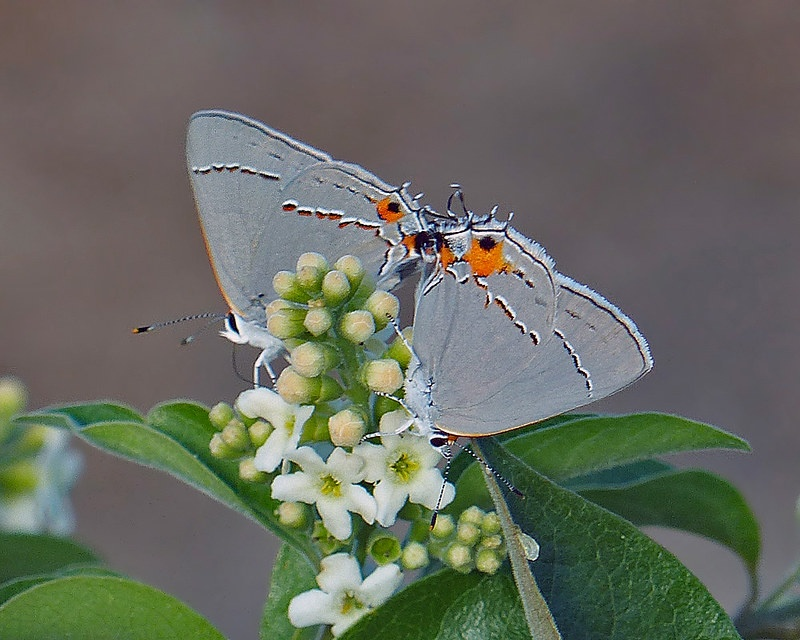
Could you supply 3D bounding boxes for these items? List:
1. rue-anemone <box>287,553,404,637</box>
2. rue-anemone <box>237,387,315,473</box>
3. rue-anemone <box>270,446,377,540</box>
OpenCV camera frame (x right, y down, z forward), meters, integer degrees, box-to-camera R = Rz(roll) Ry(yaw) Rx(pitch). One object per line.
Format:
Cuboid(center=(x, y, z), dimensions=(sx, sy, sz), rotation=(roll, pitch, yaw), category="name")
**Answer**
Cuboid(center=(-0.151, 0.720, 2.803), dimensions=(0.305, 0.106, 0.175), rotation=(-43, 60, -14), category="rue-anemone")
Cuboid(center=(-0.345, 0.293, 2.887), dimensions=(0.201, 0.083, 0.217), rotation=(22, 89, 11), category="rue-anemone")
Cuboid(center=(-0.188, 0.437, 2.801), dimensions=(0.269, 0.169, 0.193), rotation=(20, 65, 23), category="rue-anemone")
